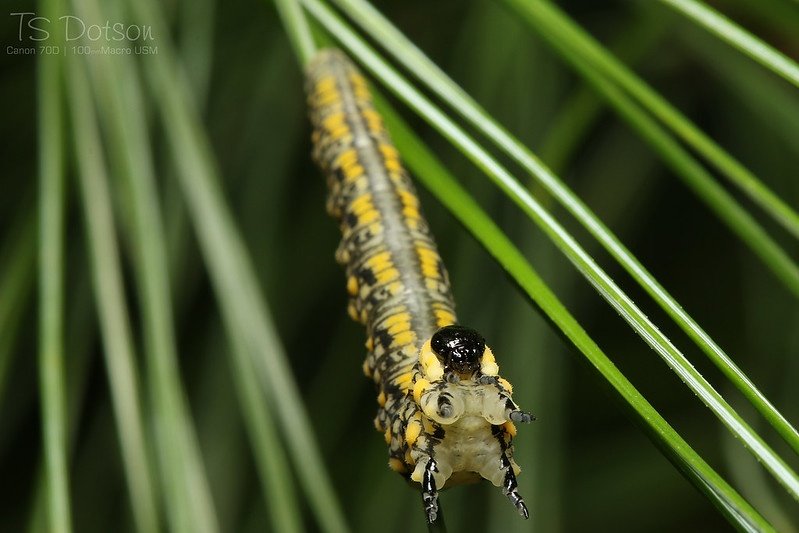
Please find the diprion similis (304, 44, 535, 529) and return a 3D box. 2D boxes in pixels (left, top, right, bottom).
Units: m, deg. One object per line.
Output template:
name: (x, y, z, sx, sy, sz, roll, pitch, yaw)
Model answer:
diprion similis: (0.000, 0.001, 0.618, 0.127, 0.391, 0.213, -3, -47, -4)
